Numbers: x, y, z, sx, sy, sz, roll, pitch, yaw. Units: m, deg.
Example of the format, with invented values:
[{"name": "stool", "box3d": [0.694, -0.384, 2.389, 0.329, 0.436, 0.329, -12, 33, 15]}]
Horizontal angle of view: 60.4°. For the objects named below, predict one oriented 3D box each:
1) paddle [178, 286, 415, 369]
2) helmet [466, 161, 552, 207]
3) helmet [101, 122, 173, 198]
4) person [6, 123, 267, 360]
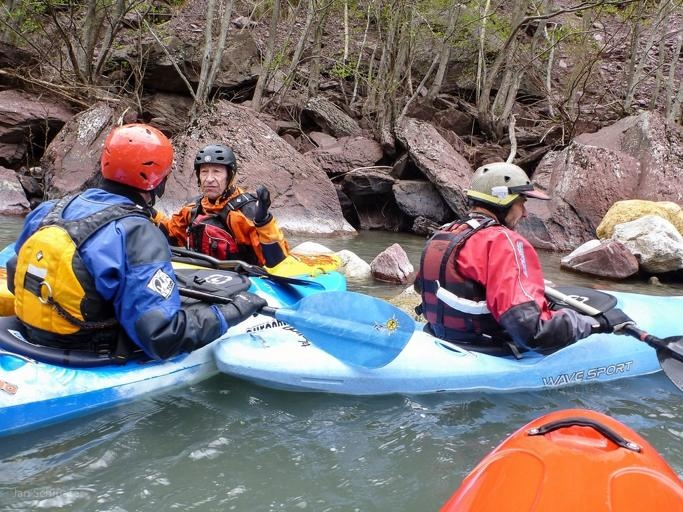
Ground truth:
[{"name": "paddle", "box3d": [-0.432, 0.360, 4.058, 2.066, 0.430, 0.097, 7, 3, 40]}, {"name": "helmet", "box3d": [1.027, -0.442, 3.664, 0.494, 0.170, 0.308, -1, 6, 1]}, {"name": "helmet", "box3d": [-1.142, -0.559, 3.350, 0.538, 0.344, 0.338, 8, 12, -15]}, {"name": "person", "box3d": [-1.117, -0.036, 3.158, 1.152, 1.323, 0.517, 7, 13, -7]}]
